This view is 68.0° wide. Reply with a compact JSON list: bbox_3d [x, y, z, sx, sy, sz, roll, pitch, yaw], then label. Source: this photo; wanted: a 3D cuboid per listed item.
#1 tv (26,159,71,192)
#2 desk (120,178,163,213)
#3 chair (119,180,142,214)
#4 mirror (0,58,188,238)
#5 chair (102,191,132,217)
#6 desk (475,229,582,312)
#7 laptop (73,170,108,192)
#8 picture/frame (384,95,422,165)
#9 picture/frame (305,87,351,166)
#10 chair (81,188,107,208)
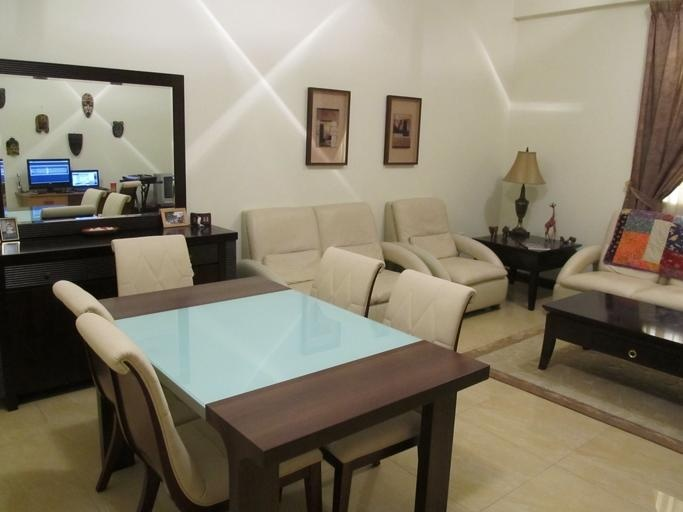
[{"bbox_3d":[-2.078,-0.574,3.575,0.211,0.200,0.043,-6,13,-33],"label":"tv"},{"bbox_3d":[-1.548,-0.499,4.002,0.255,0.238,0.256,-3,2,9],"label":"desk"},{"bbox_3d":[-1.613,-0.458,3.914,0.194,0.297,0.199,-6,22,-30],"label":"chair"},{"bbox_3d":[-1.838,-0.805,3.675,1.303,1.018,0.045,-2,4,-39],"label":"mirror"},{"bbox_3d":[-1.743,-0.391,3.953,0.124,0.237,0.206,16,1,-5],"label":"chair"},{"bbox_3d":[2.061,-0.064,5.587,0.840,0.738,0.905,-14,22,-38],"label":"desk"},{"bbox_3d":[-1.868,-0.562,3.720,0.216,0.160,0.127,-7,14,-36],"label":"laptop"},{"bbox_3d":[0.628,-1.343,5.294,0.611,0.880,0.087,-9,15,-40],"label":"picture/frame"},{"bbox_3d":[-0.142,-1.247,4.776,0.629,0.951,0.063,-8,15,-39],"label":"picture/frame"},{"bbox_3d":[-1.833,-0.427,3.813,0.102,0.200,0.146,14,3,12],"label":"chair"}]
